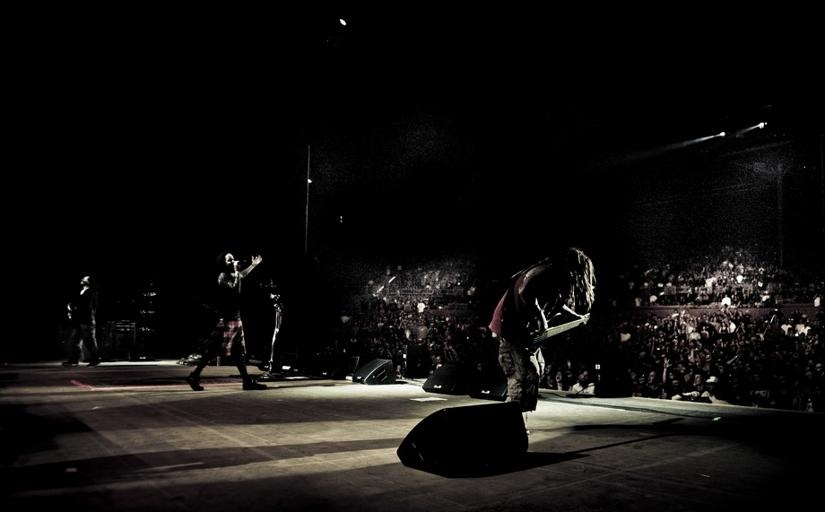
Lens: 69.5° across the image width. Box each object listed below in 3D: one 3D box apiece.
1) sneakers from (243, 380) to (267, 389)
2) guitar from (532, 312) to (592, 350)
[{"bbox_3d":[-3.932,3.212,14.857,0.680,0.245,0.222,8,-11,-36],"label":"sneakers"},{"bbox_3d":[3.056,1.491,12.016,0.932,0.245,0.964,-28,-15,38],"label":"guitar"}]
